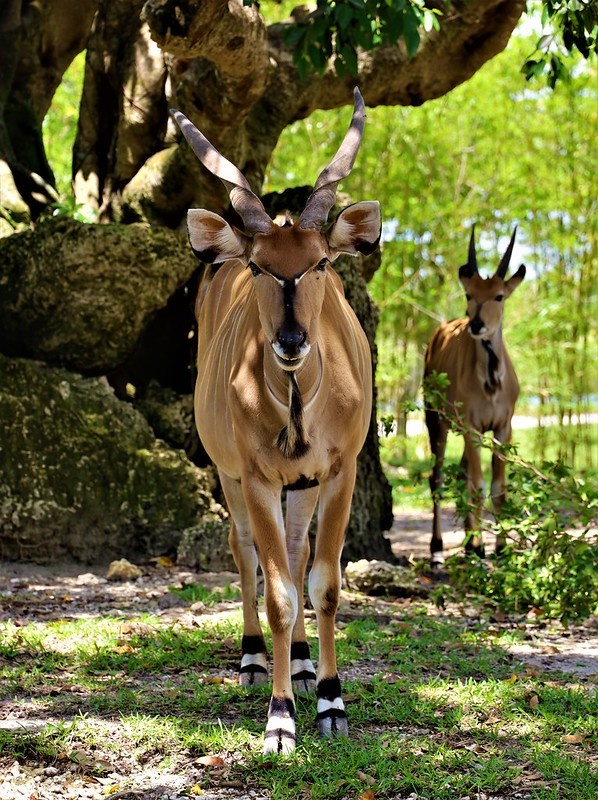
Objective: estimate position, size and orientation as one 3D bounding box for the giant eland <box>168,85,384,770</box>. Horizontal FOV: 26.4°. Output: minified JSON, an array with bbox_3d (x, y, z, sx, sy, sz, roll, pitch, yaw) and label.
[{"bbox_3d":[-0.129,0.001,5.490,0.862,2.610,1.526,2,5,-1],"label":"giant eland"}]
